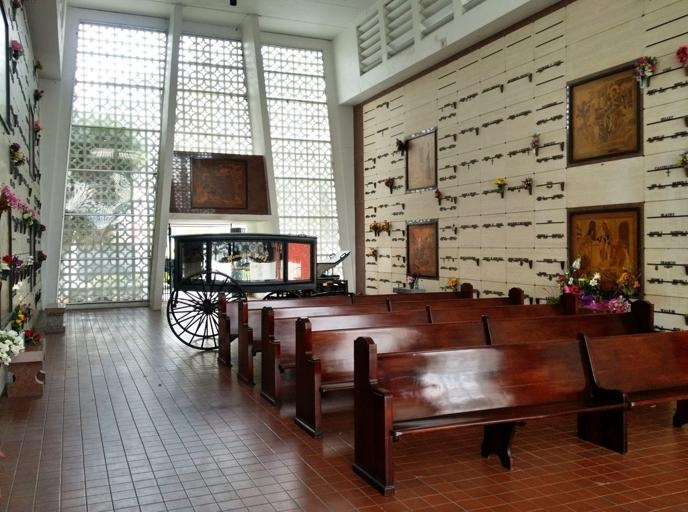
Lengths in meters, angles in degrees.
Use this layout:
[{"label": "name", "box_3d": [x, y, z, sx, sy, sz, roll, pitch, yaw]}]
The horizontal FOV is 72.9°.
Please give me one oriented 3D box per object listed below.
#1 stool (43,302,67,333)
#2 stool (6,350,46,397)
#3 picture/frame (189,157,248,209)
[{"label": "stool", "box_3d": [-6.046, 1.317, 9.808, 0.539, 0.645, 0.955, -1, 1, -27]}, {"label": "stool", "box_3d": [-3.905, 1.413, 5.939, 0.484, 0.539, 0.855, 4, -4, -19]}, {"label": "picture/frame", "box_3d": [-3.546, -1.974, 12.932, 1.595, 1.419, 0.150, 1, -1, -17]}]
